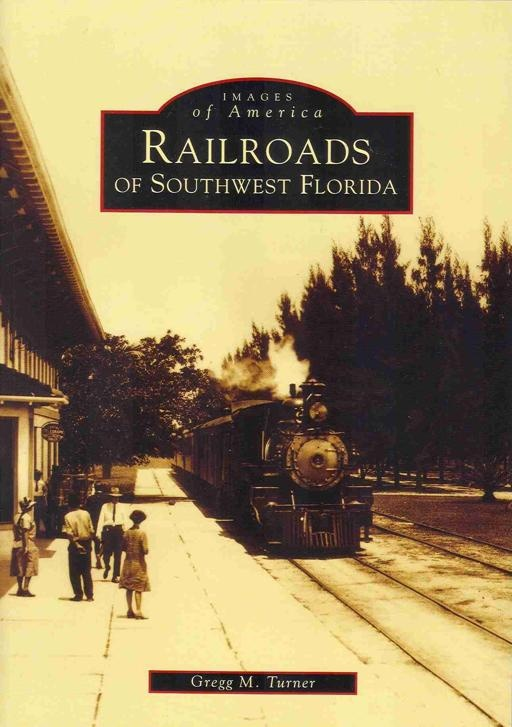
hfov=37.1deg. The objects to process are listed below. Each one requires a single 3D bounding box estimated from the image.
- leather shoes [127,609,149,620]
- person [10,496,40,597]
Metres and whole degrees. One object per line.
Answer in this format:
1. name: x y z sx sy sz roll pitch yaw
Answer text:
1. leather shoes: -1.624 3.402 10.340 0.321 0.141 0.104 1 3 -17
2. person: -3.485 2.752 11.460 0.362 1.469 0.817 1 -4 -18
